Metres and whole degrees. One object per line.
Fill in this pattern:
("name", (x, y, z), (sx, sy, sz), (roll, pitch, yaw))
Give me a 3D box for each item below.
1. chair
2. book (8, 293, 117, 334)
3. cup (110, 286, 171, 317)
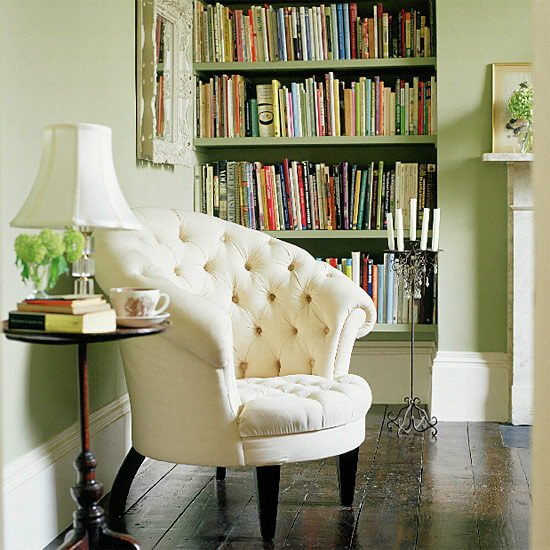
("chair", (-0.091, 0.229, 2.216), (0.825, 0.969, 0.932), (-2, -3, 32))
("book", (-0.498, 0.091, 1.564), (0.241, 0.080, 0.120), (0, 3, -2))
("cup", (-0.338, 0.075, 1.692), (0.099, 0.058, 0.081), (3, -6, -6))
